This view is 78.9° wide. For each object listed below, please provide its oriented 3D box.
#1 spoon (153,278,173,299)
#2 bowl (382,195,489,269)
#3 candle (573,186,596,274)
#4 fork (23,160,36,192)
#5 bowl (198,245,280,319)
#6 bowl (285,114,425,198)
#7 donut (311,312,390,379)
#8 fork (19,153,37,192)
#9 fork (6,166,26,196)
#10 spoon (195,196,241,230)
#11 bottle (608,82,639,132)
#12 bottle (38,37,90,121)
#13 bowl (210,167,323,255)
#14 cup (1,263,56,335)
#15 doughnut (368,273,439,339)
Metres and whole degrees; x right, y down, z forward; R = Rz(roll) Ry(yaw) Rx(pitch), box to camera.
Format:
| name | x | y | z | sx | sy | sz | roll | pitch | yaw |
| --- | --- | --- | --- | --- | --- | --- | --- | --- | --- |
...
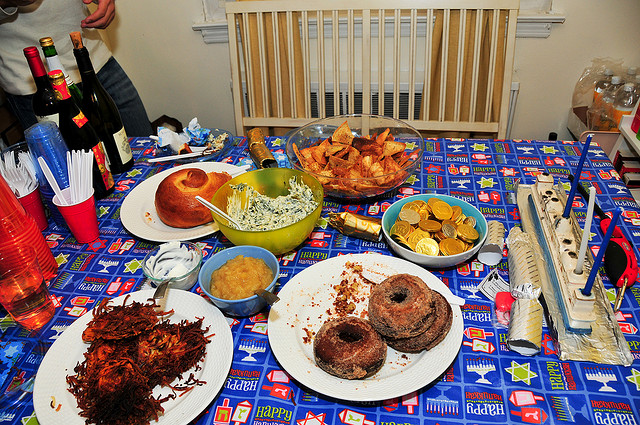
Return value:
| name | x | y | z | sx | sy | sz | roll | pitch | yaw |
| --- | --- | --- | --- | --- | --- | --- | --- | --- | --- |
| spoon | -0.424 | 0.208 | 1.056 | 0.022 | 0.014 | 0.079 | 1 | 31 | 15 |
| bowl | 0.364 | 0.051 | 1.205 | 0.235 | 0.093 | 0.256 | -5 | 39 | 4 |
| candle | 0.653 | 0.045 | 0.965 | 0.042 | 0.210 | 0.081 | 3 | 22 | 28 |
| fork | -0.986 | -0.123 | 1.332 | 0.013 | 0.105 | 0.018 | -16 | 17 | -20 |
| bowl | -0.251 | 0.180 | 1.075 | 0.196 | 0.102 | 0.214 | -1 | 47 | 1 |
| bowl | 0.097 | -0.220 | 1.457 | 0.400 | 0.156 | 0.394 | -3 | 35 | 2 |
| donut | 0.067 | 0.339 | 0.970 | 0.183 | 0.077 | 0.131 | 9 | 37 | 11 |
| fork | -0.987 | -0.151 | 1.323 | 0.028 | 0.183 | 0.029 | -8 | 2 | 21 |
| fork | -1.019 | -0.104 | 1.305 | 0.027 | 0.101 | 0.010 | -30 | 27 | -31 |
| spoon | -0.334 | -0.003 | 1.282 | 0.139 | 0.018 | 0.019 | 44 | 43 | -3 |
| bottle | 1.698 | -0.586 | 2.184 | 0.105 | 0.249 | 0.133 | 19 | 39 | 26 |
| bottle | -0.958 | -0.474 | 1.464 | 0.081 | 0.329 | 0.079 | -3 | 34 | 2 |
| bowl | -0.157 | 0.024 | 1.317 | 0.339 | 0.182 | 0.357 | -4 | 32 | 3 |
| cup | -0.842 | 0.255 | 1.113 | 0.100 | 0.146 | 0.087 | -34 | 43 | -28 |
| doughnut | 0.206 | 0.236 | 0.980 | 0.135 | 0.053 | 0.149 | 0 | 44 | 15 |
